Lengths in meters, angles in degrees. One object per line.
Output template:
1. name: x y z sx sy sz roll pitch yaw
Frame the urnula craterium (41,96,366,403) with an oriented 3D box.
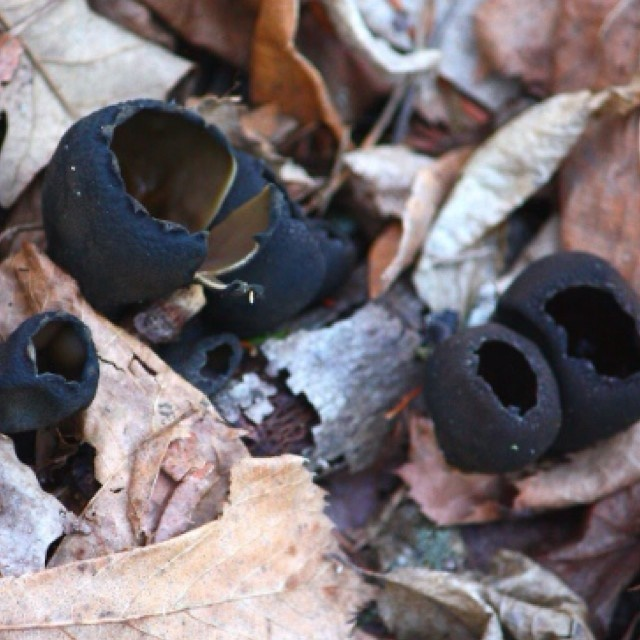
1. urnula craterium: -0.204 -0.114 1.579 0.484 0.234 0.387 27 83 -29

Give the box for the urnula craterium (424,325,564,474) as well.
1. urnula craterium: 0.263 0.110 1.476 0.175 0.158 0.244 -6 80 4
